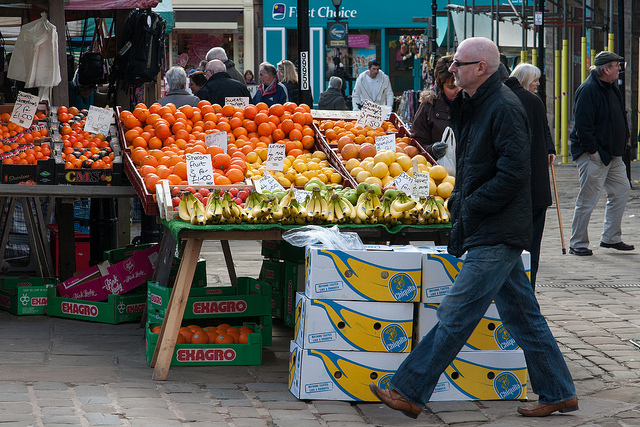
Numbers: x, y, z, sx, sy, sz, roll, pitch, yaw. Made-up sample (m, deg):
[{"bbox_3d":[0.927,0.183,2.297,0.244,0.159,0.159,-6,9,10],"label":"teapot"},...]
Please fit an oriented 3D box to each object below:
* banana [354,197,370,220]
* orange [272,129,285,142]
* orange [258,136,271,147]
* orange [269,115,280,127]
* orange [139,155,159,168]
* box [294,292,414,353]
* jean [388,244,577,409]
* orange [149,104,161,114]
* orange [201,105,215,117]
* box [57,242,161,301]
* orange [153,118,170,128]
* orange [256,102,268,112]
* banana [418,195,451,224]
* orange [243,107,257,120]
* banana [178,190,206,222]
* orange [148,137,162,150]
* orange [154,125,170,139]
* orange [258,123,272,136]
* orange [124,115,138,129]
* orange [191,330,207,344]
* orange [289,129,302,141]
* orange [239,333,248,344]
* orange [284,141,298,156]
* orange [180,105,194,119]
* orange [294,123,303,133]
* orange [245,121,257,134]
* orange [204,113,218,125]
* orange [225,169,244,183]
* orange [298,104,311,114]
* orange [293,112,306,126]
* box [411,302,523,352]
[{"bbox_3d":[0.368,-0.035,6.136,0.145,0.077,0.235,-33,26,14],"label":"banana"},{"bbox_3d":[-0.471,-0.903,7.913,0.117,0.126,0.122,-7,35,-9],"label":"orange"},{"bbox_3d":[-0.633,-0.831,7.830,0.144,0.079,0.185,0,12,2],"label":"orange"},{"bbox_3d":[-0.521,-1.068,7.979,0.101,0.133,0.107,-4,12,-4],"label":"orange"},{"bbox_3d":[-1.775,-0.541,7.174,0.129,0.162,0.133,1,0,-18],"label":"orange"},{"bbox_3d":[0.266,0.984,5.893,0.941,0.461,0.702,6,-16,-14],"label":"box"},{"bbox_3d":[1.283,0.858,5.263,1.422,1.267,0.402,-3,10,-17],"label":"jean"},{"bbox_3d":[-1.895,-1.208,7.918,0.100,0.108,0.112,-5,41,-1],"label":"orange"},{"bbox_3d":[-1.311,-1.211,8.046,0.140,0.132,0.123,-1,24,-16],"label":"orange"},{"bbox_3d":[-2.385,0.728,7.831,0.777,0.331,0.856,-28,6,25],"label":"box"},{"bbox_3d":[-1.794,-1.035,7.784,0.109,0.064,0.118,8,39,4],"label":"orange"},{"bbox_3d":[-0.685,-1.273,8.131,0.115,0.107,0.101,-4,0,2],"label":"orange"},{"bbox_3d":[1.030,-0.012,6.180,0.175,0.150,0.322,-19,15,9],"label":"banana"},{"bbox_3d":[-0.804,-1.162,8.081,0.128,0.145,0.159,8,-6,30],"label":"orange"},{"bbox_3d":[-1.134,-0.076,6.013,0.177,0.293,0.132,5,-20,-35],"label":"banana"},{"bbox_3d":[-1.828,-0.796,7.679,0.123,0.156,0.130,-23,20,-13],"label":"orange"},{"bbox_3d":[-1.756,-0.910,7.700,0.147,0.150,0.082,-1,10,-5],"label":"orange"},{"bbox_3d":[-0.623,-0.960,7.889,0.129,0.162,0.133,-16,-5,-9],"label":"orange"},{"bbox_3d":[-2.147,-1.043,7.823,0.127,0.159,0.132,-9,18,-14],"label":"orange"},{"bbox_3d":[-1.125,1.149,6.431,0.102,0.112,0.106,-1,-11,16],"label":"orange"},{"bbox_3d":[-0.270,-0.899,7.941,0.112,0.149,0.122,2,-4,2],"label":"orange"},{"bbox_3d":[-0.715,1.173,6.477,0.078,0.085,0.079,12,8,-42],"label":"orange"},{"bbox_3d":[-0.330,-0.744,7.814,0.125,0.162,0.126,-2,-2,-25],"label":"orange"},{"bbox_3d":[-1.533,-1.180,8.011,0.134,0.171,0.141,-1,6,1],"label":"orange"},{"bbox_3d":[-0.243,-0.998,8.011,0.077,0.085,0.096,-21,-45,36],"label":"orange"},{"bbox_3d":[-0.787,-0.994,7.946,0.119,0.158,0.127,1,5,8],"label":"orange"},{"bbox_3d":[-1.249,-1.098,7.952,0.131,0.126,0.118,-9,-16,33],"label":"orange"},{"bbox_3d":[-0.854,-0.383,6.955,0.142,0.128,0.135,-8,48,-4],"label":"orange"},{"bbox_3d":[-0.184,-1.249,8.222,0.109,0.145,0.115,-1,4,0],"label":"orange"},{"bbox_3d":[-0.234,-1.108,8.105,0.122,0.133,0.145,18,-16,0],"label":"orange"},{"bbox_3d":[1.299,0.974,5.833,0.643,0.330,0.476,0,5,-2],"label":"box"}]
